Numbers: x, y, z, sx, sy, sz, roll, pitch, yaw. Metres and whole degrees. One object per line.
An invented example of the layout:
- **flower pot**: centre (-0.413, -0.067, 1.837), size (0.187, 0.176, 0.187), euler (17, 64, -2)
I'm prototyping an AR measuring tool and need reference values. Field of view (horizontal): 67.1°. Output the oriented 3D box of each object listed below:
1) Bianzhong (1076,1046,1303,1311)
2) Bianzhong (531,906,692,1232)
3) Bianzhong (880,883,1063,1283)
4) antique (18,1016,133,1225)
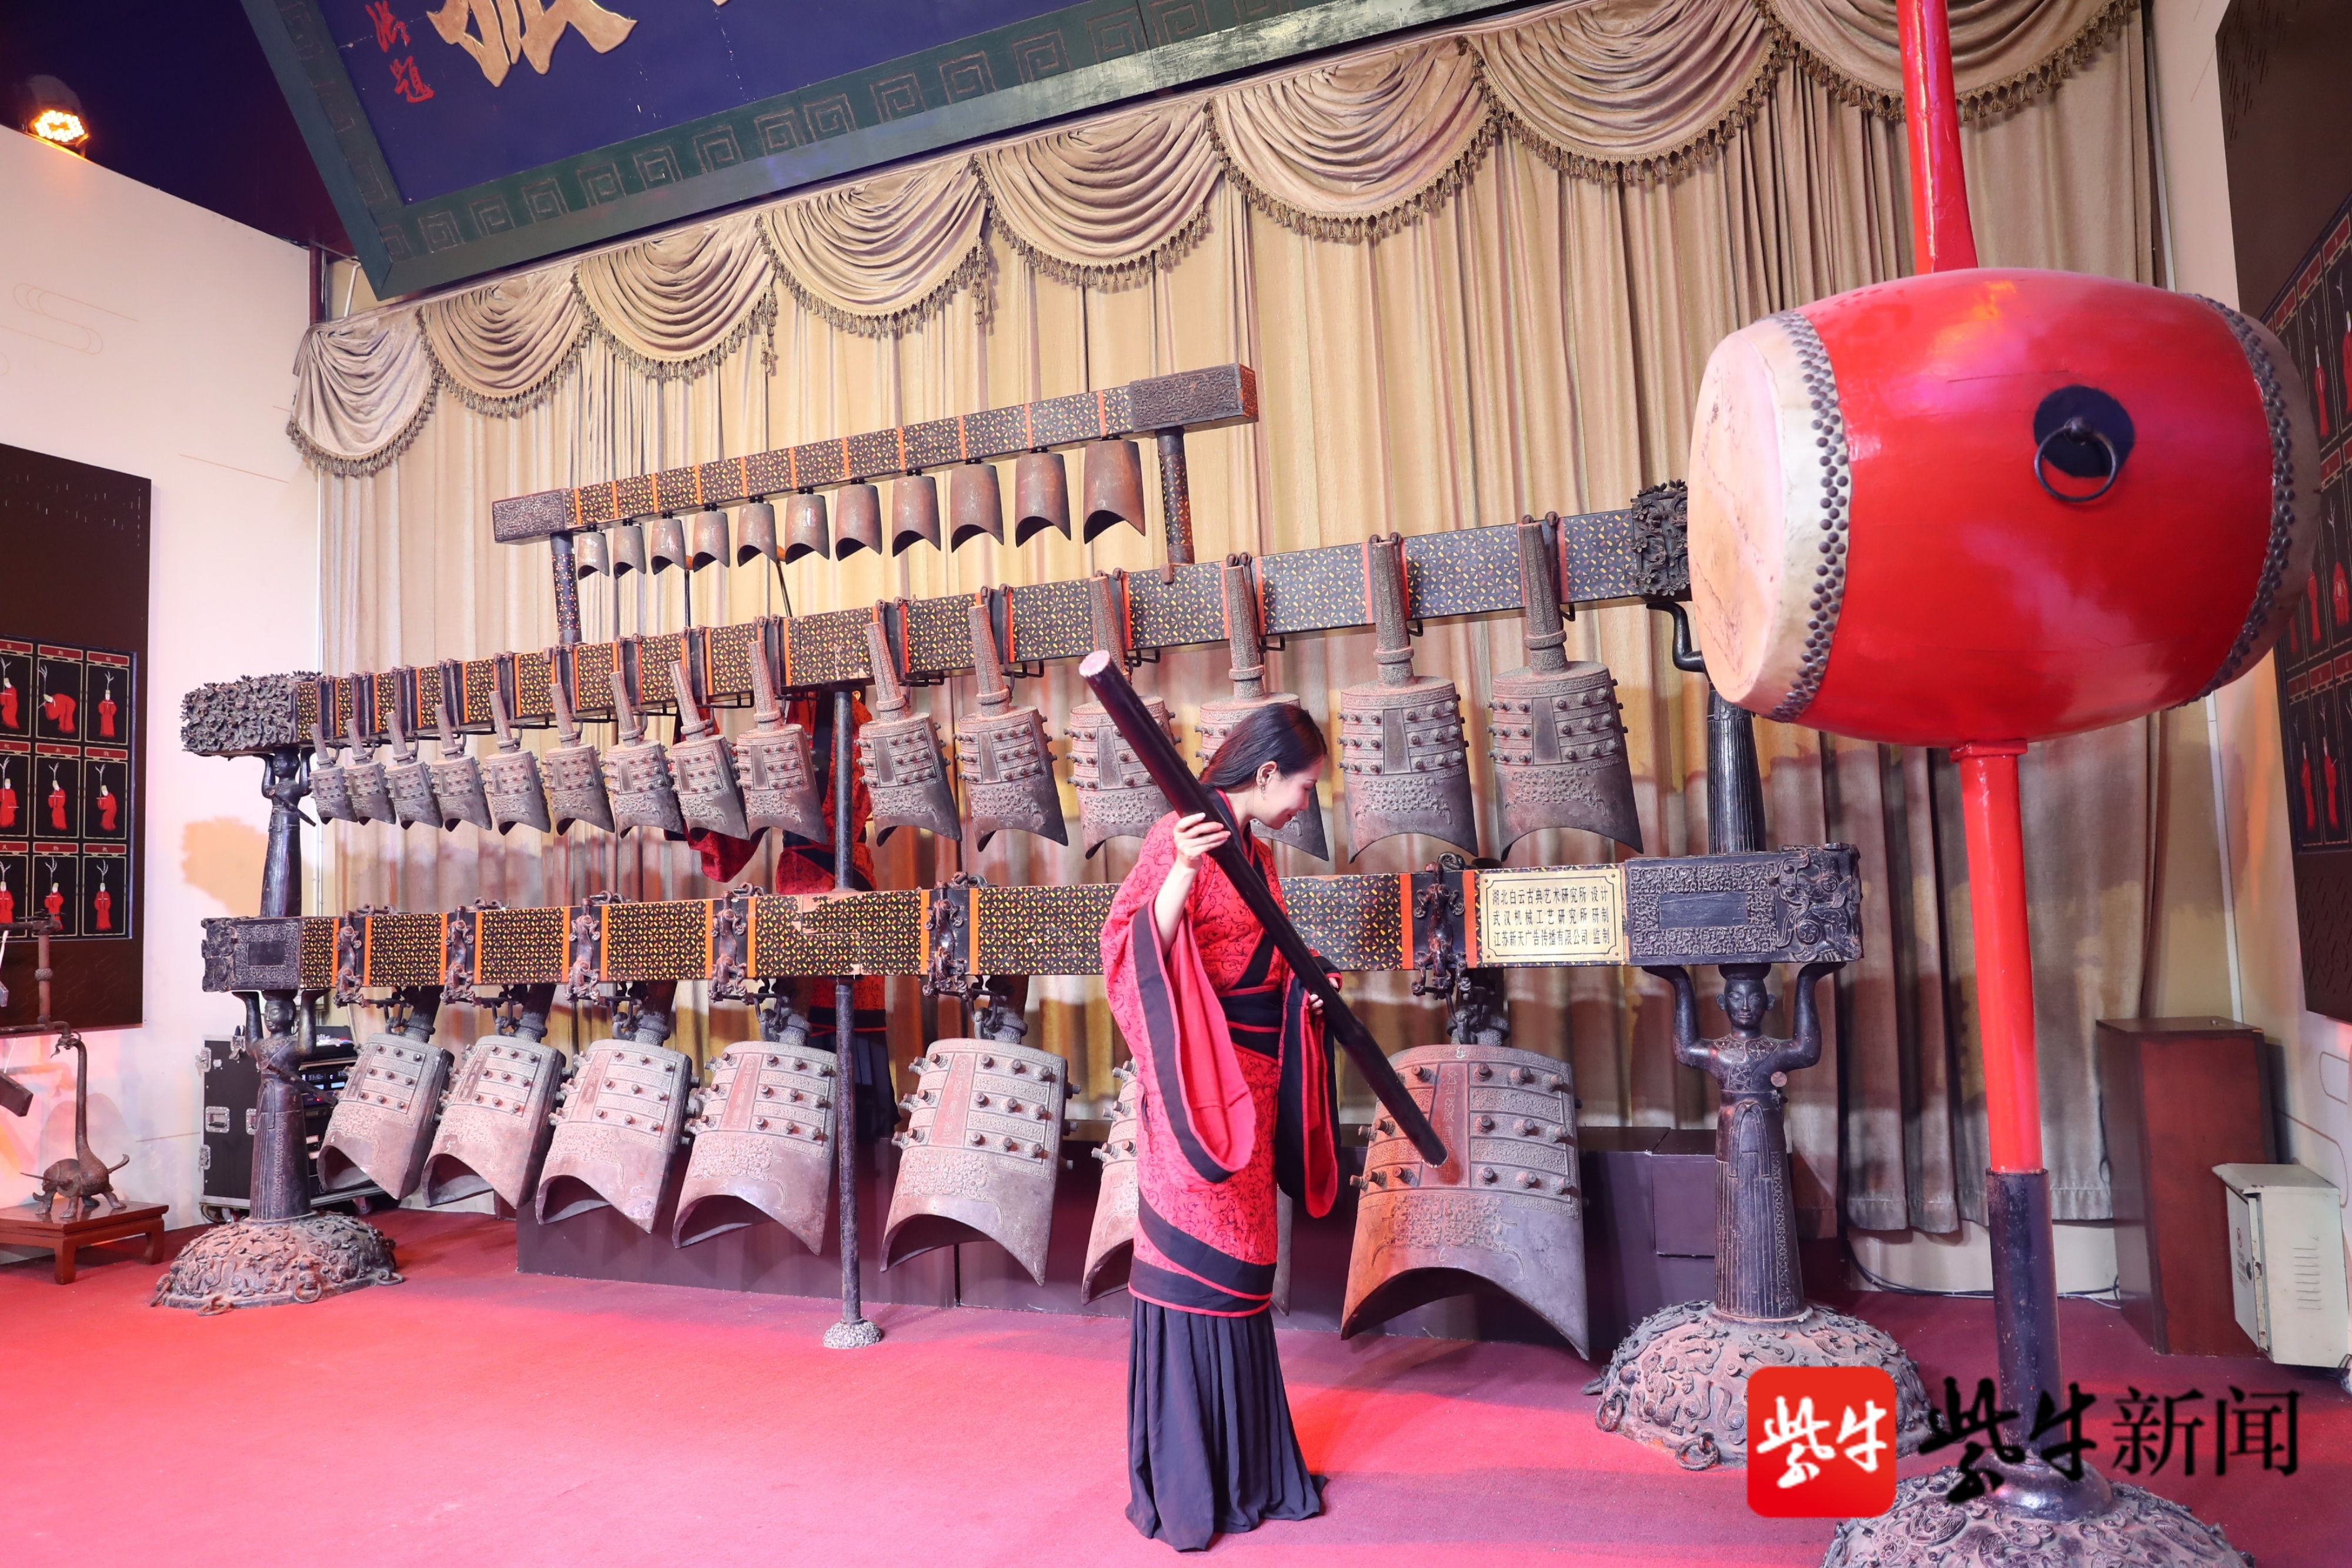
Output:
- **Bianzhong**: centre (0.020, 1.178, 5.357), size (0.577, 0.867, 0.601), euler (5, 4, -20)
- **Bianzhong**: centre (-1.712, 0.937, 5.853), size (0.385, 1.170, 0.435), euler (9, -24, 8)
- **Bianzhong**: centre (-0.598, 0.720, 5.239), size (0.445, 1.374, 0.418), euler (1, 1, 14)
- **antique**: centre (-4.167, 1.315, 6.728), size (0.313, 0.667, 0.339), euler (-11, -11, 25)
